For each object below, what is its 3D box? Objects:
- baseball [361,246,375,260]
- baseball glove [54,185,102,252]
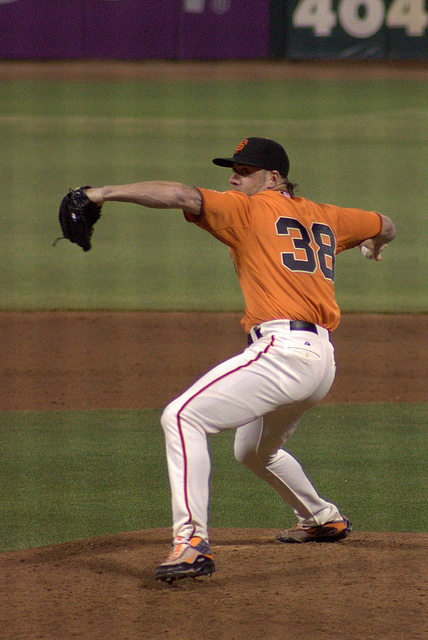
[{"bbox_3d":[0.839,-0.373,6.248,0.027,0.075,0.057,-39,-8,-3],"label":"baseball"},{"bbox_3d":[-0.645,-0.489,5.645,0.198,0.324,0.209,-2,12,-9],"label":"baseball glove"}]
